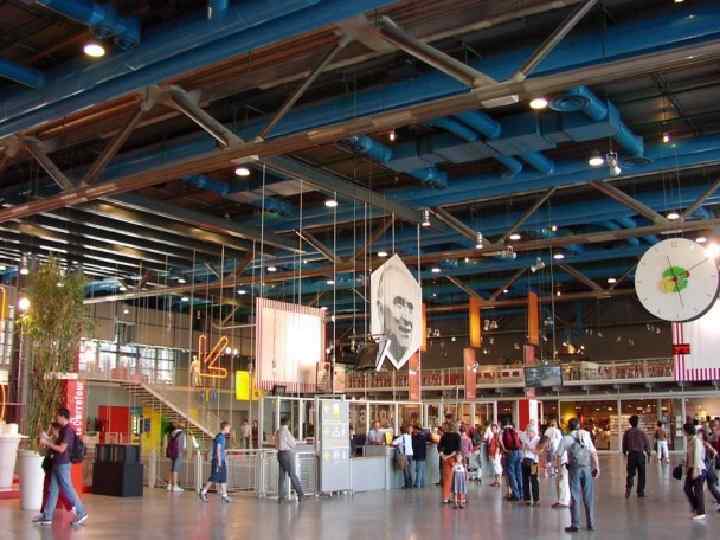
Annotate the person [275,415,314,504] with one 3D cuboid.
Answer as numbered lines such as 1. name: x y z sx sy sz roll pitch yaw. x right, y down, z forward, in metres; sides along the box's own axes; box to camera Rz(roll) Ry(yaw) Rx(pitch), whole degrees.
1. person: -1.514 4.067 15.695 0.620 1.793 1.299 1 -13 -4

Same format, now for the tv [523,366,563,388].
1. tv: 7.009 4.048 27.772 1.595 0.818 0.198 1 -13 4

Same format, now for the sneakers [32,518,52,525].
1. sneakers: -5.521 4.362 12.602 0.325 0.126 0.109 7 -27 -4

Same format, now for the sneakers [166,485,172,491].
1. sneakers: -4.790 5.437 18.161 0.124 0.138 0.346 4 -18 -10

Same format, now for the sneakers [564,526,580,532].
1. sneakers: 3.441 4.192 11.757 0.241 0.091 0.088 -3 -9 39

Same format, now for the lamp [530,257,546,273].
1. lamp: 6.171 -0.205 25.140 0.322 0.547 0.596 2 -1 -32

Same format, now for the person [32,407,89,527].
1. person: -5.342 3.477 13.018 0.842 1.989 0.899 5 -14 -21

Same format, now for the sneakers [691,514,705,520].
1. sneakers: 6.029 4.370 12.872 0.258 0.094 0.087 17 -24 -38

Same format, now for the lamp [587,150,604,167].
1. lamp: 5.229 -2.498 16.038 0.381 0.379 0.360 3 -14 -5

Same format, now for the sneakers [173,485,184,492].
1. sneakers: -4.526 5.435 18.027 0.301 0.167 0.101 4 -4 -25

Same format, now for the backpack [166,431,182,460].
1. backpack: -4.574 4.293 17.886 0.273 0.747 0.665 11 -17 -41

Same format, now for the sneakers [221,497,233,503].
1. sneakers: -2.866 4.914 15.554 0.231 0.086 0.095 -2 -8 14
